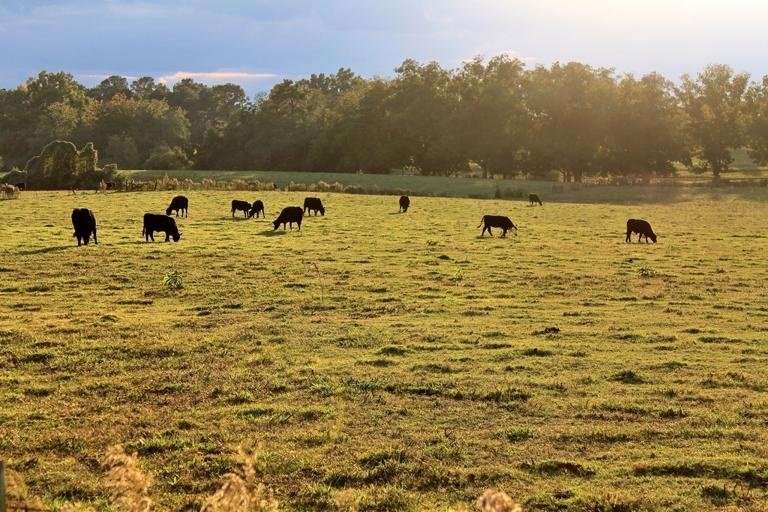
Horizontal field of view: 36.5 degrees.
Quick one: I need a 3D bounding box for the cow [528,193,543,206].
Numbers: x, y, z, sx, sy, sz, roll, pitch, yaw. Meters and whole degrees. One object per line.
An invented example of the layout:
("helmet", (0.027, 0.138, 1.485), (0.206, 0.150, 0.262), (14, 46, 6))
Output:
("cow", (15.120, -5.536, 116.806), (1.248, 1.043, 2.795), (0, 6, 6))
